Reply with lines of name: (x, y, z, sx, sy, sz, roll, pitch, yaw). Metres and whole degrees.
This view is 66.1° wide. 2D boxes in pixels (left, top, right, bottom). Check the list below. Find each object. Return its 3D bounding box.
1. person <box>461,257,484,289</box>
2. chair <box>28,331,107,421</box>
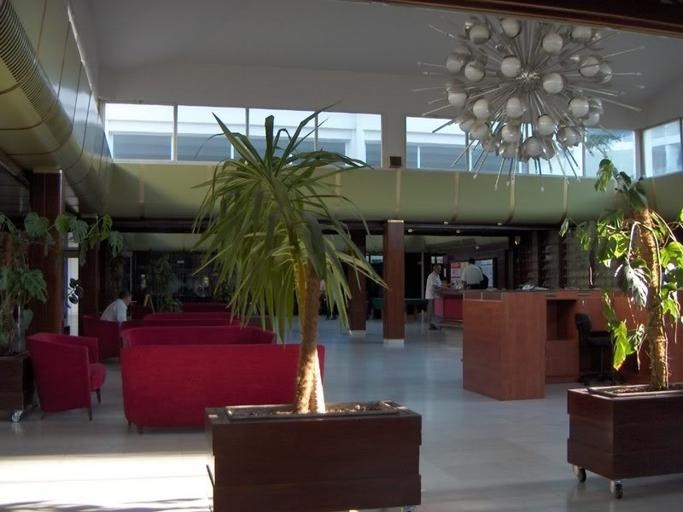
person: (4.652, 0.640, 18.731, 0.652, 1.091, 1.905, -1, -2, 13)
chair: (-3.423, 1.401, 6.886, 0.883, 1.207, 1.014, 0, 1, -10)
